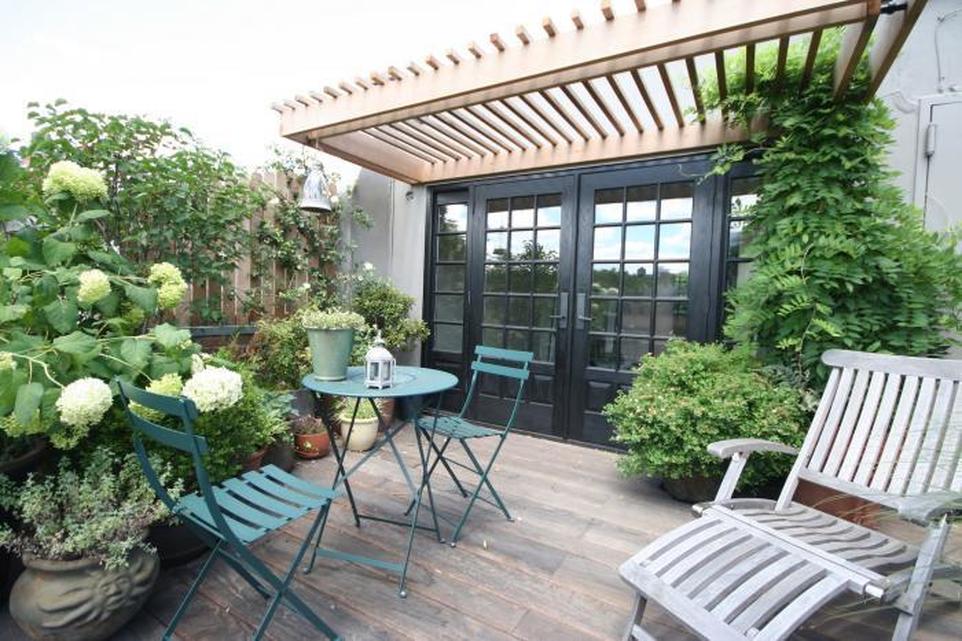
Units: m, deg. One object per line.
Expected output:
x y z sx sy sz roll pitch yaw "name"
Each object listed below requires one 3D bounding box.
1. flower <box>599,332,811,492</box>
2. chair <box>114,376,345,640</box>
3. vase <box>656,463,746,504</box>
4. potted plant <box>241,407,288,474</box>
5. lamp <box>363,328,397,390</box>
1.821 0.669 4.696 1.328 0.794 1.243 -1 -3 22 "flower"
-1.445 1.003 3.302 0.919 1.464 1.120 -3 7 -42 "chair"
1.603 1.160 4.436 0.399 0.210 0.363 -1 -5 -6 "vase"
-1.520 0.873 4.357 0.433 0.273 0.414 -1 2 -35 "potted plant"
-0.647 0.253 3.834 0.180 0.322 0.306 2 5 -10 "lamp"
